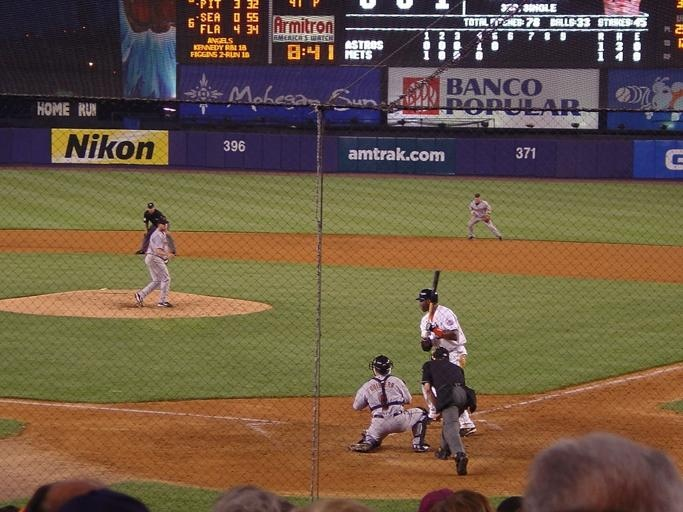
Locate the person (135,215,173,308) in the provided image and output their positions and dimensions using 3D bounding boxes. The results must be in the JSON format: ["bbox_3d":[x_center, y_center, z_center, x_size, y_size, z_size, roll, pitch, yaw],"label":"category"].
[{"bbox_3d":[-4.649,0.185,24.301,1.036,2.276,0.661,-3,10,-14],"label":"person"}]

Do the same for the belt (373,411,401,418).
[{"bbox_3d":[0.913,2.806,17.187,0.494,0.127,0.053,0,10,-1],"label":"belt"}]

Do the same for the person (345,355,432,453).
[{"bbox_3d":[0.959,2.823,17.988,1.720,1.432,1.050,3,30,10],"label":"person"}]

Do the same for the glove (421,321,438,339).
[{"bbox_3d":[1.736,1.342,17.824,0.273,0.340,0.240,0,9,4],"label":"glove"}]

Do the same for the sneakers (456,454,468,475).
[{"bbox_3d":[2.173,3.525,16.527,0.181,0.402,0.200,2,5,-16],"label":"sneakers"}]

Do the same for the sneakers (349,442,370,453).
[{"bbox_3d":[0.418,3.393,17.194,0.206,0.093,0.265,6,-10,-39],"label":"sneakers"}]

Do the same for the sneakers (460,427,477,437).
[{"bbox_3d":[2.405,3.225,17.758,0.407,0.142,0.120,1,26,-12],"label":"sneakers"}]

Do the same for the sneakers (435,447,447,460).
[{"bbox_3d":[1.856,3.486,17.059,0.148,0.157,0.254,2,10,4],"label":"sneakers"}]

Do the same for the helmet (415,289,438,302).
[{"bbox_3d":[1.694,0.734,17.915,0.374,0.157,0.249,1,4,12],"label":"helmet"}]

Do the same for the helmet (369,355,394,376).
[{"bbox_3d":[0.800,1.939,17.318,0.375,0.304,0.366,-2,37,-10],"label":"helmet"}]

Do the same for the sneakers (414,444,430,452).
[{"bbox_3d":[1.532,3.446,17.402,0.342,0.124,0.110,3,-2,-8],"label":"sneakers"}]
